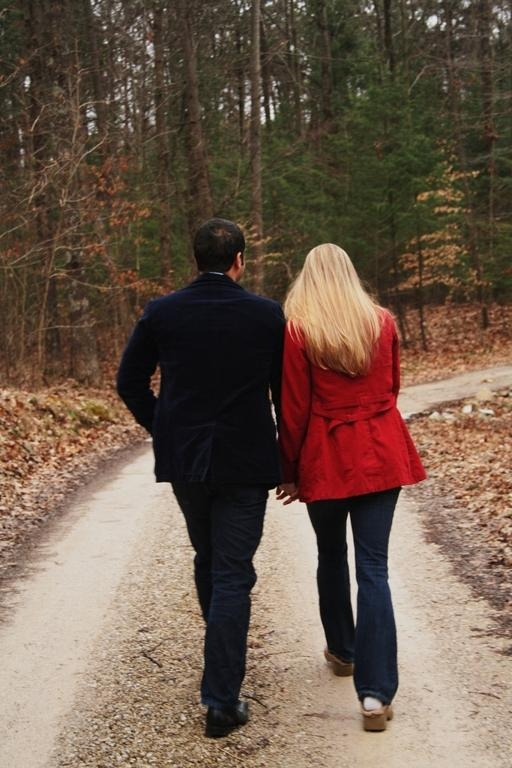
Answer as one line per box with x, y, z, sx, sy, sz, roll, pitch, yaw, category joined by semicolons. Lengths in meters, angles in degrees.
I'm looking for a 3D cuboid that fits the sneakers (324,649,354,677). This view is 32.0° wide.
0.427;1.433;4.600;0.069;0.072;0.178;0;12;-18;sneakers

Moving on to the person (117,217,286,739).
-0.165;0.381;4.203;0.610;2.286;0.711;-6;9;-31;person

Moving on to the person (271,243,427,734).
0.473;0.427;4.246;0.555;2.185;0.765;-6;9;-31;person

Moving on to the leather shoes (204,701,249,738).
-0.139;1.490;4.010;0.090;0.145;0.230;2;5;30;leather shoes

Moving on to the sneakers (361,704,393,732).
0.538;1.510;4.024;0.090;0.081;0.149;-1;-10;5;sneakers
